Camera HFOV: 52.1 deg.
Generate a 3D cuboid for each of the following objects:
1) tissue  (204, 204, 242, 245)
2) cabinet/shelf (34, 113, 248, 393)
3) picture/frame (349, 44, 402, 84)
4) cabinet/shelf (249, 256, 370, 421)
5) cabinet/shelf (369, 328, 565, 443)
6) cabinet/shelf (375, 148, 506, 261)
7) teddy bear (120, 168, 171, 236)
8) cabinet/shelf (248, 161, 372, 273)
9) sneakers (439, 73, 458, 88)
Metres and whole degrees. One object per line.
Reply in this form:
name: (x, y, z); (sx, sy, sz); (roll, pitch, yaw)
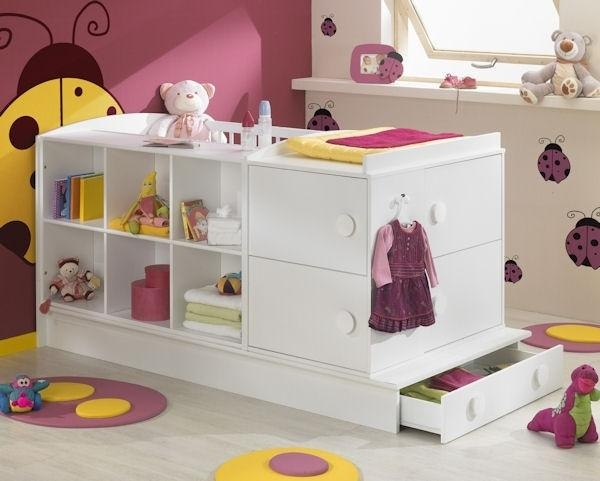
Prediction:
tissue : (-0.319, -0.071, 2.517); (0.164, 0.096, 0.162); (6, 10, 41)
cabinet/shelf: (-0.632, 0.039, 2.821); (1.143, 0.979, 0.391); (9, 14, 24)
picture/frame: (0.482, -1.110, 3.879); (0.300, 0.197, 0.025); (2, 3, 16)
cabinet/shelf: (0.104, 0.261, 2.385); (0.587, 0.369, 0.331); (3, 6, 38)
cabinet/shelf: (0.676, 0.531, 2.361); (0.823, 0.212, 0.300); (-10, 14, -41)
cabinet/shelf: (0.602, -0.151, 2.375); (0.403, 0.439, 0.695); (5, 8, 45)
teddy bear: (-0.664, -0.175, 2.760); (0.315, 0.291, 0.186); (-1, 8, 35)
cabinet/shelf: (0.104, -0.108, 2.315); (0.561, 0.358, 0.305); (10, 17, 38)
sneakers: (0.890, -0.940, 3.640); (0.070, 0.059, 0.140); (6, 18, 24)
